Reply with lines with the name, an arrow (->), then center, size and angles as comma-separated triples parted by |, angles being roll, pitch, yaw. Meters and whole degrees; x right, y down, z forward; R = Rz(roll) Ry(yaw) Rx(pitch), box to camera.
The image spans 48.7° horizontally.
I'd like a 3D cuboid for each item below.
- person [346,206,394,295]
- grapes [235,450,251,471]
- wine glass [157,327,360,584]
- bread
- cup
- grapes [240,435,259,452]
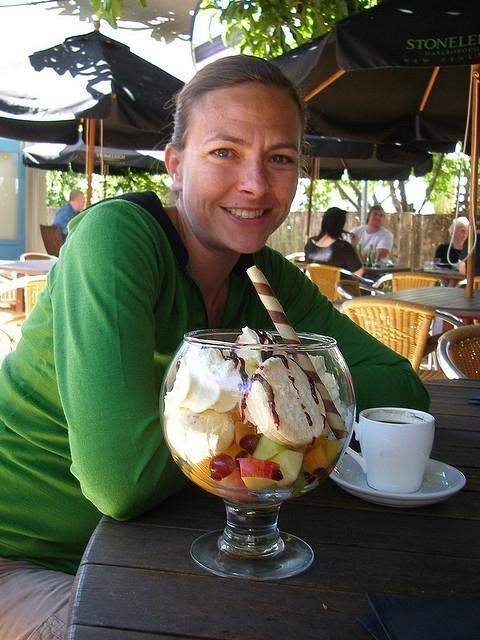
person -> 1.974, -1.034, 7.933 | 0.688, 1.237, 0.610 | -15, 25, -17
grapes -> 0.002, 0.118, 0.451 | 0.014, 0.017, 0.005 | 5, 13, 24
wine glass -> 0.015, 0.127, 0.525 | 0.183, 0.213, 0.176 | -1, 1, -14
bread -> 0.037, 0.053, 0.432 | 0.027, 0.081, 0.068 | -20, 2, 36
cup -> 0.186, 0.174, 0.723 | 0.152, 0.091, 0.099 | 3, 5, 14
grapes -> 0.007, 0.100, 0.440 | 0.017, 0.015, 0.008 | 12, 23, -2
